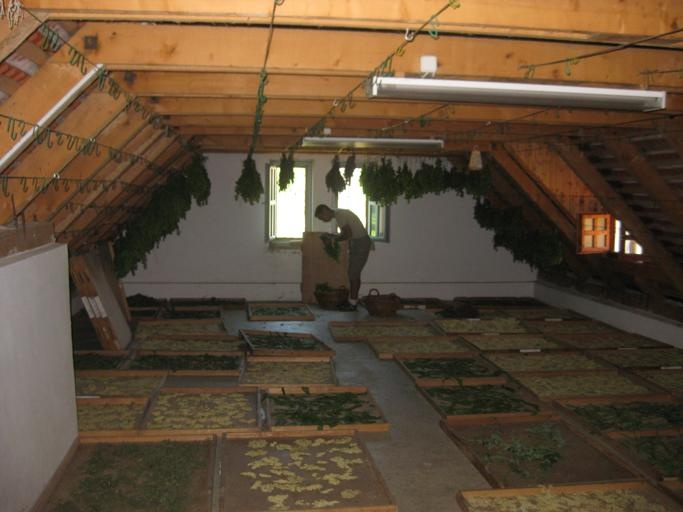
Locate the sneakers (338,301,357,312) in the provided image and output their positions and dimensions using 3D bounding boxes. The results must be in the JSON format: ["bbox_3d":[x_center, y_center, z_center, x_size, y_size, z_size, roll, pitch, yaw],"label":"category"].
[{"bbox_3d":[0.121,0.942,10.543,0.384,0.167,0.146,3,-1,1],"label":"sneakers"}]

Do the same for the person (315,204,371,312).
[{"bbox_3d":[0.070,-0.016,10.649,0.926,1.907,1.136,1,4,-1],"label":"person"}]

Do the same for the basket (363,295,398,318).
[{"bbox_3d":[0.691,0.878,9.938,0.453,0.244,0.420,-1,3,4],"label":"basket"}]
